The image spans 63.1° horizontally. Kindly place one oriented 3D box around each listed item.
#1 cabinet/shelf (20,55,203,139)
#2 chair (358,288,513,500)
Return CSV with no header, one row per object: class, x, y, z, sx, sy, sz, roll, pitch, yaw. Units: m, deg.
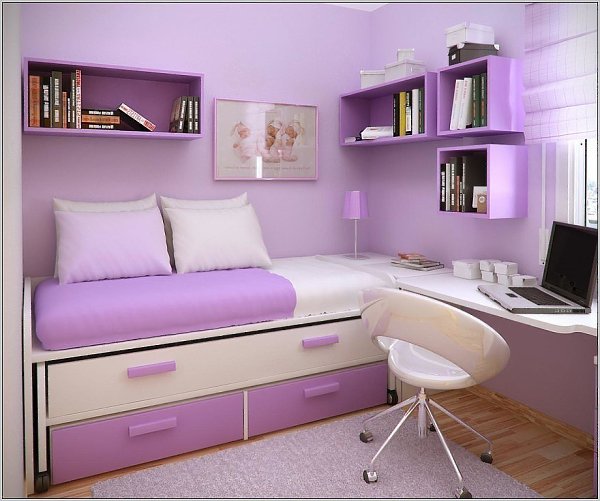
cabinet/shelf,-1.079,-0.863,2.866,0.985,0.395,0.290,-6,11,-26
chair,0.605,0.679,2.246,0.511,0.836,0.624,-5,11,-22
